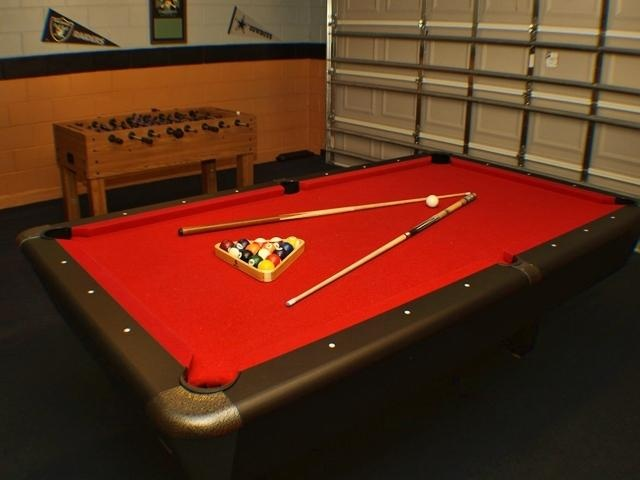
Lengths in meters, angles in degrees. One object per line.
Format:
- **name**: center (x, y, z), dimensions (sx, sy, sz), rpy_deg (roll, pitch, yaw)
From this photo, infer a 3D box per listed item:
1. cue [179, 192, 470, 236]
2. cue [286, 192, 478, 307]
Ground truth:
- **cue**: center (0.016, -0.139, 2.653), dimensions (1.707, 0.054, 0.062), rpy_deg (-8, 5, -23)
- **cue**: center (0.292, 0.053, 2.257), dimensions (0.054, 0.049, 1.321), rpy_deg (-7, 16, 47)
